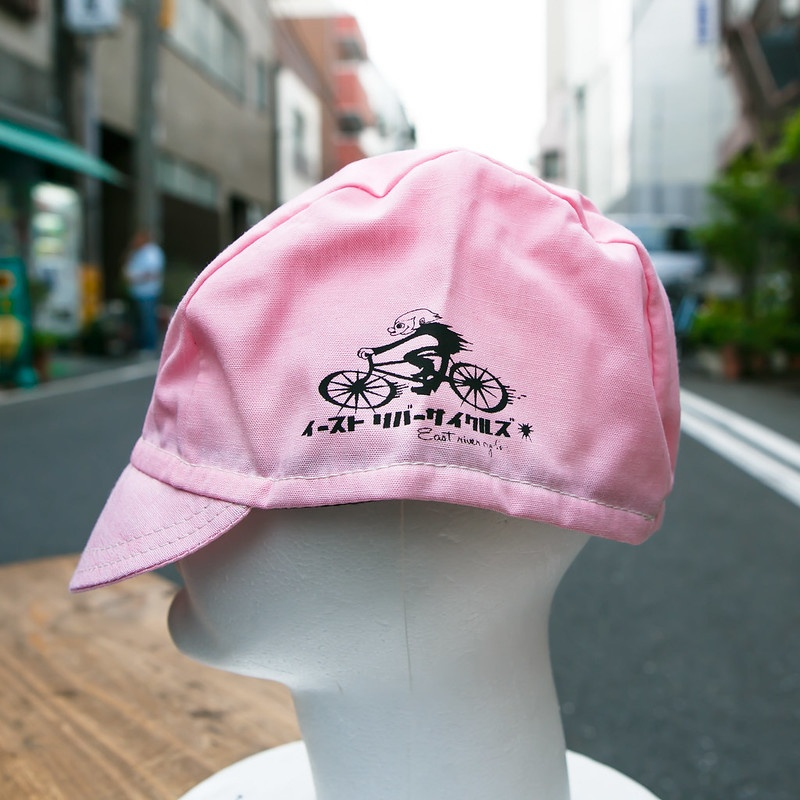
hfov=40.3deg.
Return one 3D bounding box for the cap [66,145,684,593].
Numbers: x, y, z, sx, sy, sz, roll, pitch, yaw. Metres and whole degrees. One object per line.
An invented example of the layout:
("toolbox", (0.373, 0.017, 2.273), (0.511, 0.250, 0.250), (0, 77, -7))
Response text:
("cap", (-0.022, -0.078, 1.503), (0.995, 0.471, 0.688), (-6, 11, 22))
